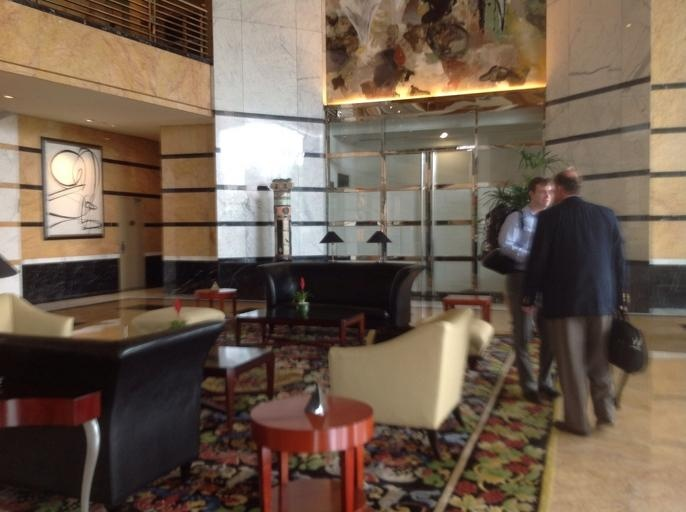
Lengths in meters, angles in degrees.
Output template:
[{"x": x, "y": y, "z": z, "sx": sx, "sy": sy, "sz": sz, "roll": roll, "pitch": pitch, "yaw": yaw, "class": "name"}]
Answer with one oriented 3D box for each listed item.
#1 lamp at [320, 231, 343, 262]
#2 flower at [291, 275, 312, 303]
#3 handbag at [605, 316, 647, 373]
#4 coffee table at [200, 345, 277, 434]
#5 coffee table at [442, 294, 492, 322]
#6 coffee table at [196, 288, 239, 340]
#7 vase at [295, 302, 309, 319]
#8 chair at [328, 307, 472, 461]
[{"x": -0.252, "y": -0.185, "z": 9.590, "sx": 0.482, "sy": 0.649, "sz": 0.556, "roll": 0, "pitch": 5, "yaw": 12, "class": "lamp"}, {"x": -0.557, "y": 0.442, "z": 6.991, "sx": 0.303, "sy": 0.410, "sz": 0.303, "roll": 3, "pitch": 4, "yaw": 5, "class": "flower"}, {"x": 2.111, "y": 0.673, "z": 3.972, "sx": 0.287, "sy": 0.407, "sz": 0.129, "roll": 8, "pitch": -18, "yaw": -29, "class": "handbag"}, {"x": -0.937, "y": 1.112, "z": 4.378, "sx": 0.457, "sy": 0.336, "sz": 0.641, "roll": 0, "pitch": 2, "yaw": 25, "class": "coffee table"}, {"x": 1.541, "y": 0.580, "z": 6.578, "sx": 0.569, "sy": 0.605, "sz": 0.585, "roll": 0, "pitch": -3, "yaw": 11, "class": "coffee table"}, {"x": -1.509, "y": 0.690, "z": 6.373, "sx": 0.550, "sy": 0.606, "sz": 0.558, "roll": -4, "pitch": -5, "yaw": 35, "class": "coffee table"}, {"x": -0.502, "y": 0.682, "z": 6.431, "sx": 0.148, "sy": 0.180, "sz": 0.150, "roll": 0, "pitch": 7, "yaw": -10, "class": "vase"}, {"x": 0.486, "y": 0.887, "z": 4.080, "sx": 0.913, "sy": 0.997, "sz": 0.965, "roll": 0, "pitch": -4, "yaw": 19, "class": "chair"}]
